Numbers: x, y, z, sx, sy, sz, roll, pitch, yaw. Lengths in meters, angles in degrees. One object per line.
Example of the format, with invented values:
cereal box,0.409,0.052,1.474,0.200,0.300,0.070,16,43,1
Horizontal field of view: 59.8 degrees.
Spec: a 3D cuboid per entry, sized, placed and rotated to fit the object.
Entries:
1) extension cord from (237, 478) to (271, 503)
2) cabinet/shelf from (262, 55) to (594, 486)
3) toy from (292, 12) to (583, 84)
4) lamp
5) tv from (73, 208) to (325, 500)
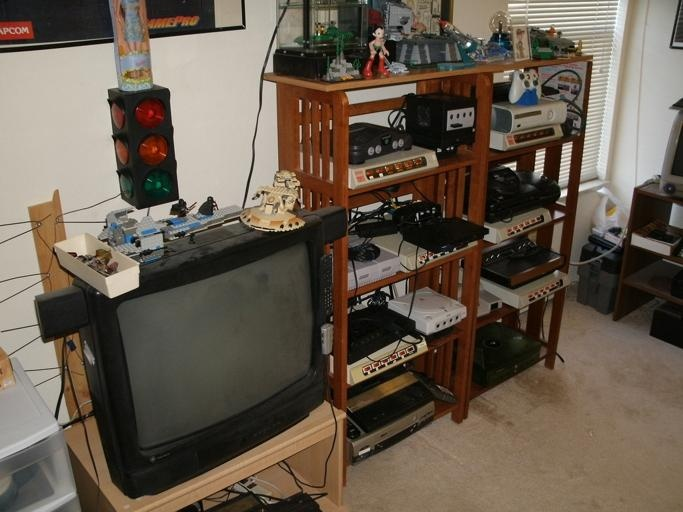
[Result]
extension cord,-0.385,1.043,2.651,0.117,0.041,0.121,28,-5,-29
cabinet/shelf,0.396,0.070,2.884,1.797,1.786,0.473,-19,29,-34
toy,0.446,-1.052,2.819,1.556,0.321,0.392,-18,29,-29
lamp,-0.707,-0.396,2.135,0.230,0.402,0.211,-7,25,-9
tv,-0.507,0.324,2.102,0.850,0.780,0.461,-22,31,-36
